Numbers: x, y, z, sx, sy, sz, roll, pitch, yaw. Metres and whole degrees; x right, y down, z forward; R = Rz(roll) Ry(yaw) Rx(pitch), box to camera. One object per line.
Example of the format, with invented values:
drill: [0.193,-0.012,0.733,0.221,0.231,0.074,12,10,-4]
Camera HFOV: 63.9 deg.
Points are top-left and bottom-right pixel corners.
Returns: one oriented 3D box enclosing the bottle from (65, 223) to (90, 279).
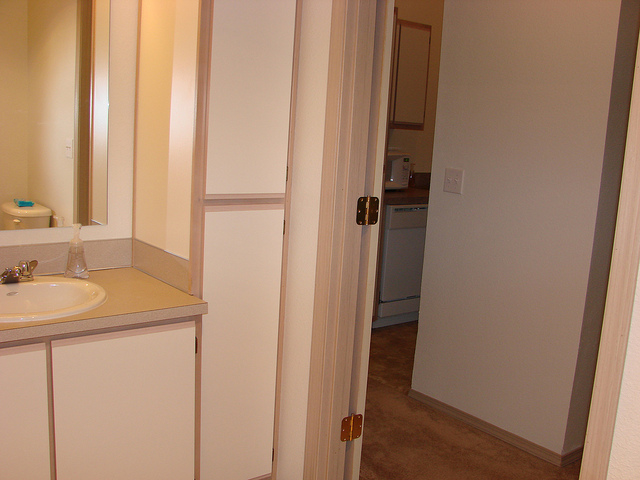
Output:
bottle: [-1.003,0.044,2.107,0.089,0.212,0.175,-5,11,-26]

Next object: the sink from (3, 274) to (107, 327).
sink: [-1.001,0.215,1.892,0.345,0.117,0.451,-9,13,-40]

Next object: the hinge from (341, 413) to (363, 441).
hinge: [0.135,0.809,2.236,0.135,0.160,0.017,-1,1,-35]

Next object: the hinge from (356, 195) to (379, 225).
hinge: [0.193,-0.128,2.113,0.106,0.128,0.016,-8,17,-31]

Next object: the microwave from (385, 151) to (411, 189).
microwave: [0.641,-0.602,4.406,0.196,0.320,0.317,5,11,31]
